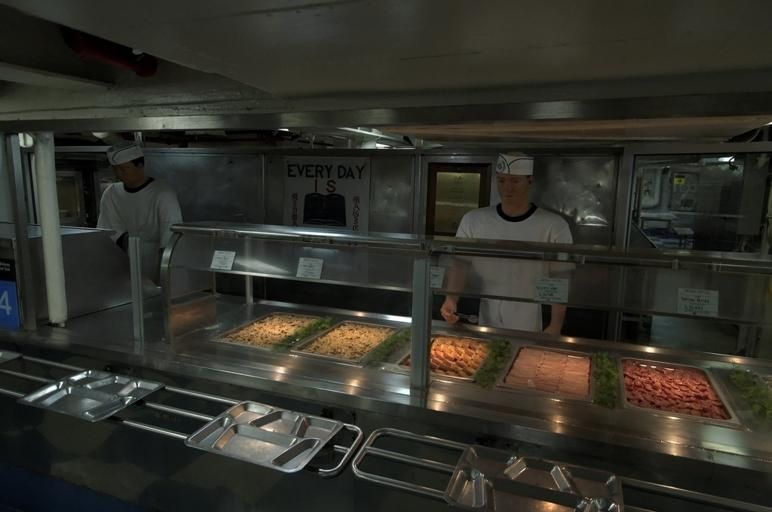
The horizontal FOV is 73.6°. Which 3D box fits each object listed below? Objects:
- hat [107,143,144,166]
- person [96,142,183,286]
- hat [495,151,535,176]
[{"bbox_3d":[-1.886,-0.736,3.759,0.218,0.108,0.161,-18,26,-32],"label":"hat"},{"bbox_3d":[-1.881,-0.316,3.917,0.894,1.054,0.402,8,13,27],"label":"person"},{"bbox_3d":[0.819,-0.579,3.277,0.193,0.088,0.179,-1,11,-11],"label":"hat"}]
